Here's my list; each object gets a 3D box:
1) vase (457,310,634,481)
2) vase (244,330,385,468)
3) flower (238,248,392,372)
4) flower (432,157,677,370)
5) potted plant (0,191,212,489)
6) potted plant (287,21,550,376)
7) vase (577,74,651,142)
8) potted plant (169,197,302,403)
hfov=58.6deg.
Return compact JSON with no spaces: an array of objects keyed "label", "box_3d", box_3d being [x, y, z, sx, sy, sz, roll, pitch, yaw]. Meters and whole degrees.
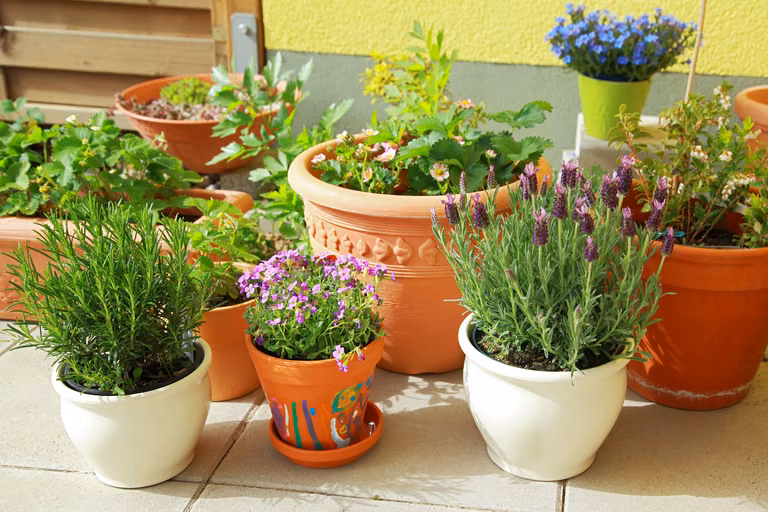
[{"label":"vase","box_3d":[0.609,0.528,2.856,0.598,0.431,0.571,-2,18,-2]},{"label":"vase","box_3d":[-0.247,0.616,2.752,0.536,0.439,0.525,-3,20,-6]},{"label":"flower","box_3d":[-0.287,0.206,2.712,0.503,0.359,0.474,0,23,1]},{"label":"flower","box_3d":[0.677,0.030,2.857,0.876,0.673,0.842,-2,26,8]},{"label":"potted plant","box_3d":[-1.043,0.344,2.710,0.684,1.063,0.539,-5,28,-12]},{"label":"potted plant","box_3d":[0.111,-0.439,3.658,1.479,1.693,1.571,-3,20,-6]},{"label":"vase","box_3d":[1.166,-0.804,3.486,0.184,0.257,0.237,5,48,38]},{"label":"potted plant","box_3d":[-0.603,0.154,3.296,0.767,0.595,0.785,1,20,-4]}]
